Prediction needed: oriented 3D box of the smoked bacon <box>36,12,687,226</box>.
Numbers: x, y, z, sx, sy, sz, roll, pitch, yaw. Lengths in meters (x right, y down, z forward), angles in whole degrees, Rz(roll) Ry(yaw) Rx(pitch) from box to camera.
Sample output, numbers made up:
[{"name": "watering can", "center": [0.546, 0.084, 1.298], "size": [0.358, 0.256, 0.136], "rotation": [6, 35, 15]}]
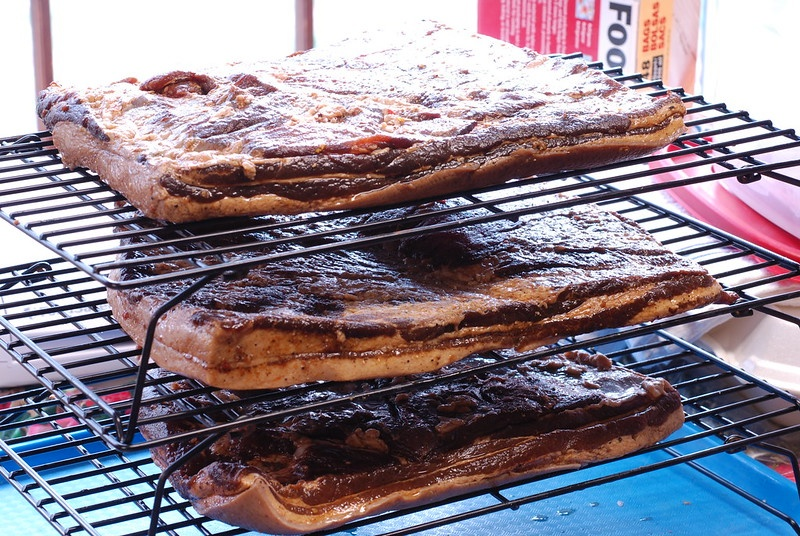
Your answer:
[{"name": "smoked bacon", "center": [0.000, -0.180, 0.920], "size": [0.570, 0.059, 0.473], "rotation": [-11, 21, -25]}]

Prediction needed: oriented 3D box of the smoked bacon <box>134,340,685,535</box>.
[{"name": "smoked bacon", "center": [0.070, 0.211, 0.955], "size": [0.579, 0.068, 0.277], "rotation": [-6, 15, -17]}]

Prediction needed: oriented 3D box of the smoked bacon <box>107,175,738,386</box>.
[{"name": "smoked bacon", "center": [0.053, 0.027, 0.923], "size": [0.621, 0.066, 0.364], "rotation": [-7, 20, -22]}]
